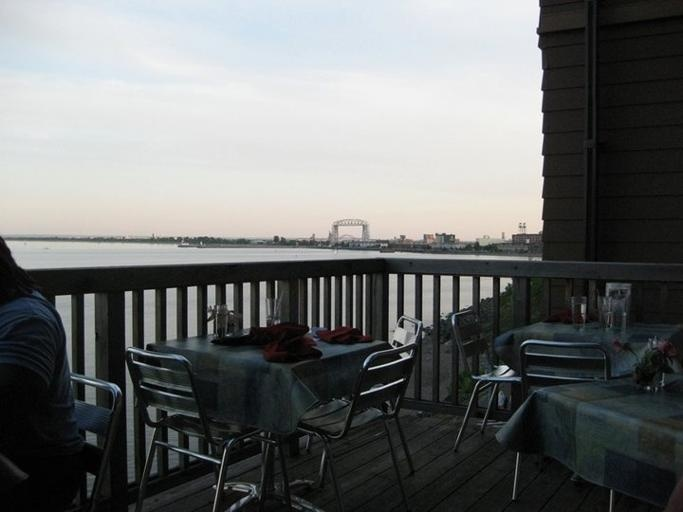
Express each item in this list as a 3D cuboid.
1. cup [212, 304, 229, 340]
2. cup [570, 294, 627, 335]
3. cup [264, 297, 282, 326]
[{"bbox_3d":[-0.645,0.347,3.264,0.065,0.166,0.099,1,5,18],"label":"cup"},{"bbox_3d":[1.439,0.338,3.439,0.084,0.162,0.214,-3,4,-43],"label":"cup"},{"bbox_3d":[-0.388,0.316,3.465,0.081,0.176,0.288,-1,5,-8],"label":"cup"}]
